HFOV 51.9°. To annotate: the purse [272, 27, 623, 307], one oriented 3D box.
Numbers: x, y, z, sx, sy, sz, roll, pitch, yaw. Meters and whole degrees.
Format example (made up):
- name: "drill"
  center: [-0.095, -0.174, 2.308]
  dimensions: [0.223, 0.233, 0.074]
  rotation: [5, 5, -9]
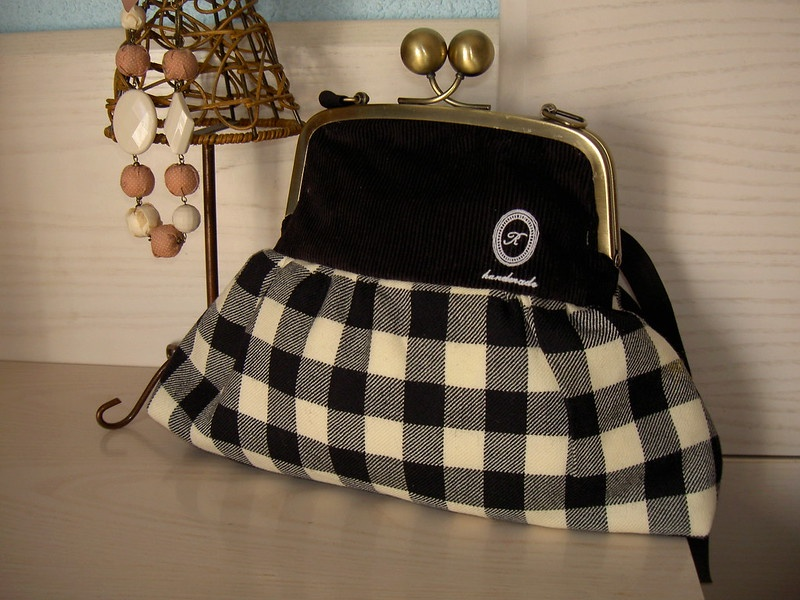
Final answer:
- name: "purse"
  center: [0.062, -0.133, 0.857]
  dimensions: [0.359, 0.206, 0.069]
  rotation: [5, -5, 18]
